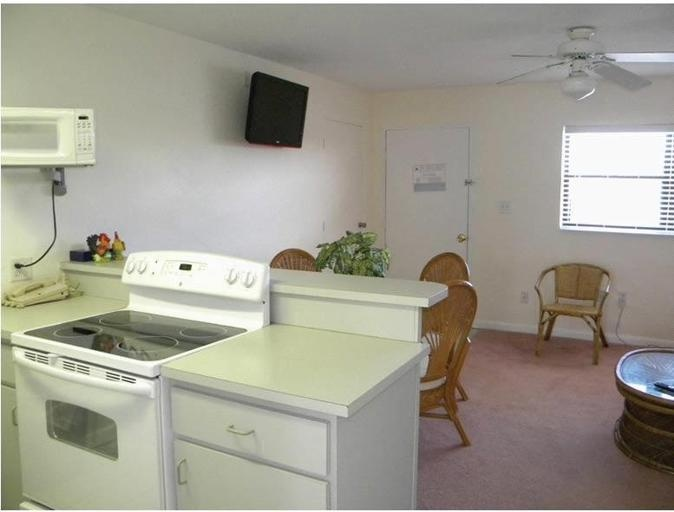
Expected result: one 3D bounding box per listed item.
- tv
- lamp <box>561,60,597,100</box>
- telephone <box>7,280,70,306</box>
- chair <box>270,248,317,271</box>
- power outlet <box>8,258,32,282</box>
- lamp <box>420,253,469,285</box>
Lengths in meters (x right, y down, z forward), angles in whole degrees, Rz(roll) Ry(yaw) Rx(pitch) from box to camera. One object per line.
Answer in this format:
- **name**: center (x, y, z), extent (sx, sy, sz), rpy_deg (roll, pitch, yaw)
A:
- **tv**: center (-0.505, -1.158, 4.107), extent (0.093, 0.529, 0.707), rpy_deg (14, 5, 30)
- **lamp**: center (1.532, -1.091, 3.259), extent (0.213, 0.258, 0.235), rpy_deg (-2, 18, 29)
- **telephone**: center (-1.601, 0.204, 2.751), extent (0.137, 0.060, 0.177), rpy_deg (7, 8, 36)
- **chair**: center (-0.318, 0.031, 3.774), extent (0.273, 0.165, 0.511), rpy_deg (1, 12, 6)
- **power outlet**: center (-1.743, 0.075, 2.808), extent (0.031, 0.141, 0.123), rpy_deg (2, 3, 35)
- **lamp**: center (0.741, 0.086, 3.480), extent (0.333, 0.191, 0.236), rpy_deg (4, 13, 24)
